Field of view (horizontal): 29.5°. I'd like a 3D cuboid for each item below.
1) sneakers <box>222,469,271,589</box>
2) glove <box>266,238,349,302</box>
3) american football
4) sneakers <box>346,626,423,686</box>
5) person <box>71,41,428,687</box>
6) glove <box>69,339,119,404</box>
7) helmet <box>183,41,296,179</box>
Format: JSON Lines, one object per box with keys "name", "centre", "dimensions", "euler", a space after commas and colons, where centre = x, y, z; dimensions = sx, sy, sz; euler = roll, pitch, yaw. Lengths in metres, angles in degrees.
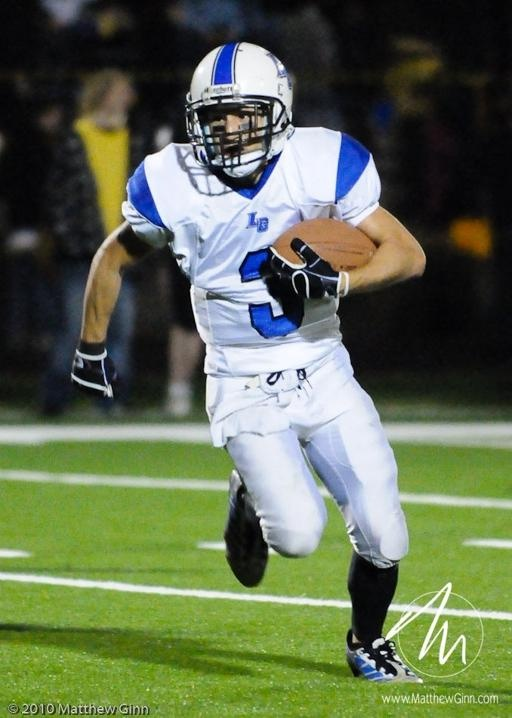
{"name": "sneakers", "centre": [-0.032, 0.451, 2.600], "dimensions": [0.145, 0.293, 0.145], "euler": [-11, 0, -2]}
{"name": "glove", "centre": [0.100, -0.198, 2.188], "dimensions": [0.177, 0.125, 0.076], "euler": [36, 23, 0]}
{"name": "american football", "centre": [0.167, -0.269, 2.248], "dimensions": [0.209, 0.094, 0.120], "euler": [5, 10, 9]}
{"name": "sneakers", "centre": [0.272, 0.653, 2.091], "dimensions": [0.095, 0.078, 0.229], "euler": [3, -4, -32]}
{"name": "person", "centre": [0.067, -0.155, 2.275], "dimensions": [0.921, 1.142, 0.495], "euler": [16, 23, 39]}
{"name": "glove", "centre": [-0.412, 0.021, 2.482], "dimensions": [0.112, 0.142, 0.148], "euler": [-13, 28, -21]}
{"name": "helmet", "centre": [-0.046, -0.613, 2.348], "dimensions": [0.283, 0.266, 0.314], "euler": [-3, 27, 1]}
